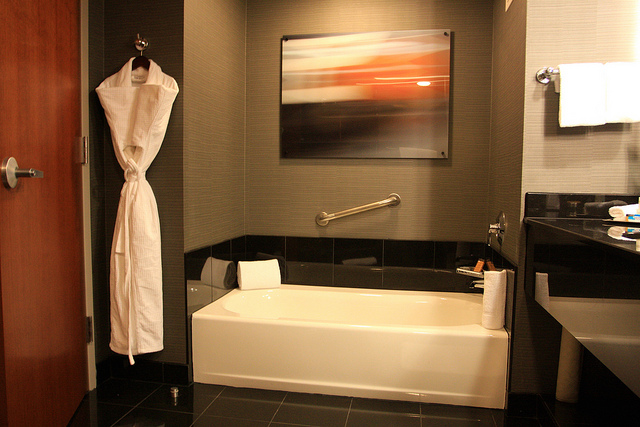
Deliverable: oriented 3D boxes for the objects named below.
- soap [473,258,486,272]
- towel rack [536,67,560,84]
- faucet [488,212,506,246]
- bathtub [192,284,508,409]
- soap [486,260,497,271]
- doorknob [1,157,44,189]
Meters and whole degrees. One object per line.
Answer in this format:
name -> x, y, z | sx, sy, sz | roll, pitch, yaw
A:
soap -> 1.070, 0.351, 3.340 | 0.077, 0.074, 0.106 | 2, 6, 18
towel rack -> 1.308, -0.796, 2.868 | 0.117, 0.071, 0.035 | -7, 10, 5
faucet -> 1.203, 0.111, 3.379 | 0.107, 0.246, 0.271 | 0, 1, 6
bathtub -> 0.211, 0.896, 3.564 | 2.048, 0.594, 0.763 | 1, 6, 8
soap -> 1.142, 0.353, 3.325 | 0.034, 0.017, 0.083 | -11, -6, 0
doorknob -> -1.556, -0.208, 2.589 | 0.180, 0.160, 0.126 | -4, 8, -30
